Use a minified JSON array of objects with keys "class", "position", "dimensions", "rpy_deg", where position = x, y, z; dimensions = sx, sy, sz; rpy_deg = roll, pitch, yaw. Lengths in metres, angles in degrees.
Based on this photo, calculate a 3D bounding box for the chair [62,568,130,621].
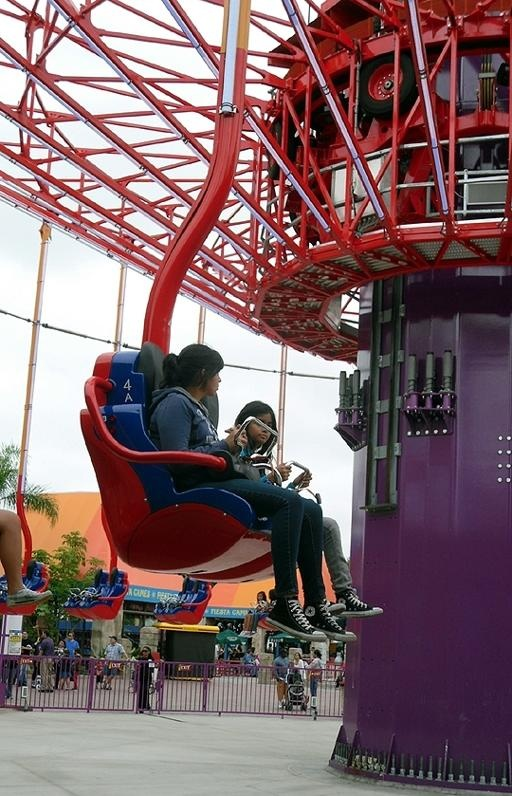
[{"class":"chair","position":[-4.190,5.242,20.648],"dimensions":[1.191,1.215,1.495],"rpy_deg":[3,-10,-34]}]

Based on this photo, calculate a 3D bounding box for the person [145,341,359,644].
[{"class":"person","position":[-0.018,0.478,3.858],"dimensions":[1.092,1.486,0.769],"rpy_deg":[5,-9,-17]}]

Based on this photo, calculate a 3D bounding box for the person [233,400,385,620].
[{"class":"person","position":[0.205,0.579,4.272],"dimensions":[0.839,1.390,0.591],"rpy_deg":[-16,-36,25]}]

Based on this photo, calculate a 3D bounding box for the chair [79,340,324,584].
[{"class":"chair","position":[-0.440,0.277,4.104],"dimensions":[0.890,1.006,0.920],"rpy_deg":[-1,-7,1]}]
